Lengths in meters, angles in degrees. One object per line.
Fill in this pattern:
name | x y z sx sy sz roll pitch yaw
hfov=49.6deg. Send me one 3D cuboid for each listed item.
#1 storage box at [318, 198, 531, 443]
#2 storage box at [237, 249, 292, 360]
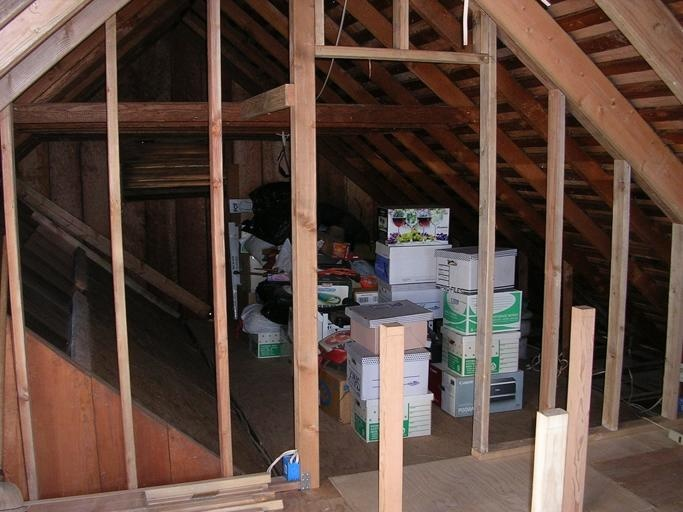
storage box | 0.940 0.125 5.887 1.564 1.863 2.052 -4 12 -23
storage box | -0.677 0.493 6.526 0.596 0.705 0.252 -7 -5 -8
